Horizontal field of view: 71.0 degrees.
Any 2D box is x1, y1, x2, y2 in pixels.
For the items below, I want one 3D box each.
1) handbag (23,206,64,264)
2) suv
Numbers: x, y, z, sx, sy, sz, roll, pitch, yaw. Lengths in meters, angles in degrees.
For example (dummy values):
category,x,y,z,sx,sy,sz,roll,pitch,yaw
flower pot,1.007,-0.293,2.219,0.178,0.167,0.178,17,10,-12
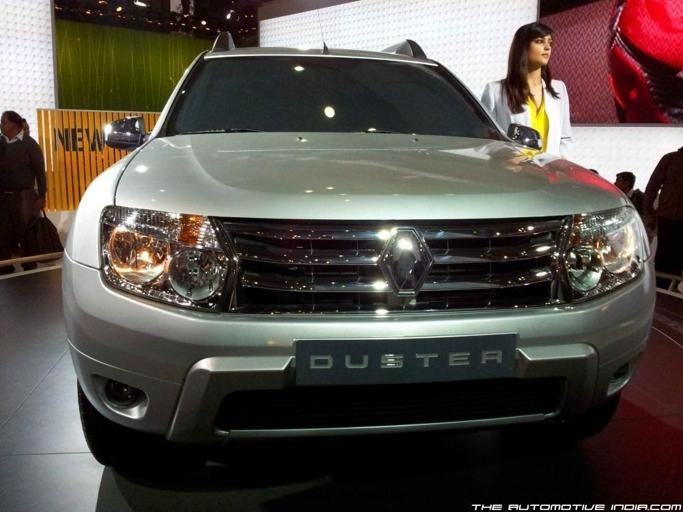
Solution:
category,x,y,z,sx,sy,sz,roll,pitch,yaw
handbag,-3.541,-0.258,5.651,0.438,0.503,0.183,2,11,7
suv,-0.163,-0.321,2.403,1.352,1.338,2.404,0,2,-10
